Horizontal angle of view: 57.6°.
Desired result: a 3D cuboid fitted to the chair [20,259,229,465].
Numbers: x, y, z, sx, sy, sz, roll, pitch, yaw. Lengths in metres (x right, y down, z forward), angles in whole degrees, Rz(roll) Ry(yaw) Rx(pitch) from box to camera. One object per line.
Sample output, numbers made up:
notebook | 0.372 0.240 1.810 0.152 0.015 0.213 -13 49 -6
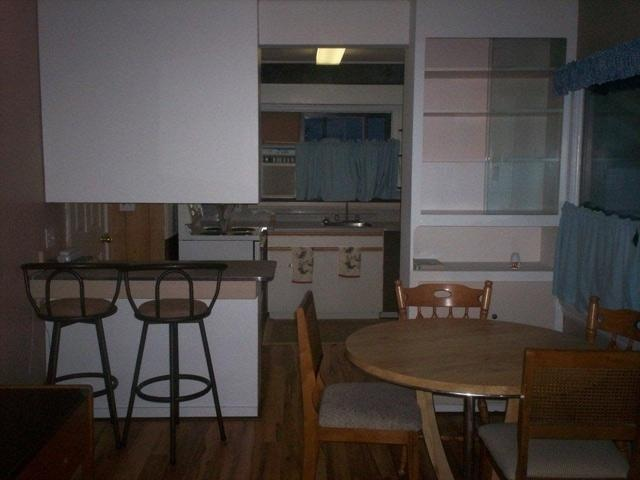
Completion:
chair | -1.216 0.734 3.584 1.043 1.076 0.579 1 11 -9

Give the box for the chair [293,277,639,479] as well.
chair | 0.553 0.713 3.159 1.283 0.810 1.113 -3 9 -5
